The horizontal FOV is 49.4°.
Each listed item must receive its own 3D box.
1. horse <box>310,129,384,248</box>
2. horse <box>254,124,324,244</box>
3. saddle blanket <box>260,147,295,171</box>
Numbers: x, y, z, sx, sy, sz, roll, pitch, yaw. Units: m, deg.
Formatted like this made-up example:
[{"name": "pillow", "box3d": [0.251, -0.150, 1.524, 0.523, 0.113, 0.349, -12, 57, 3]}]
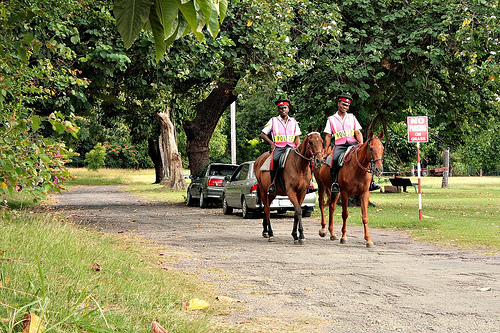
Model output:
[{"name": "horse", "box3d": [2.863, 0.713, 16.225, 1.203, 3.326, 4.197, 3, -3, -15]}, {"name": "horse", "box3d": [1.088, 0.769, 16.220, 1.154, 3.177, 4.205, 2, -2, -22]}, {"name": "saddle blanket", "box3d": [0.800, -0.114, 15.963, 0.858, 0.341, 0.555, -21, 1, -11]}]
